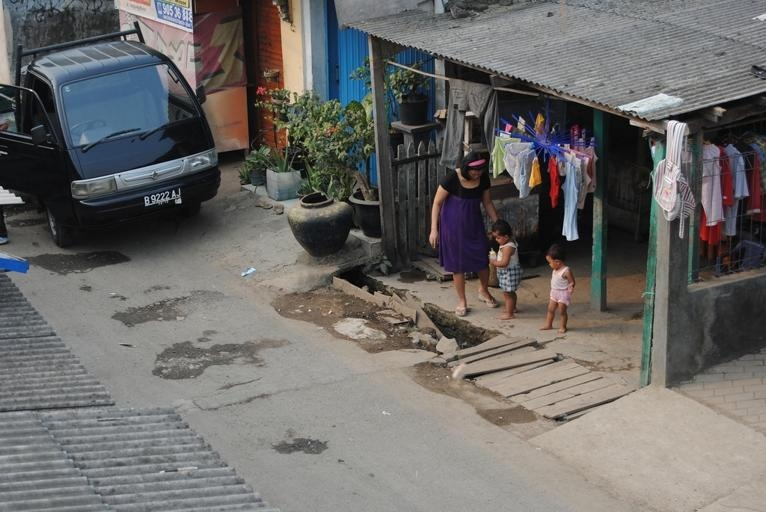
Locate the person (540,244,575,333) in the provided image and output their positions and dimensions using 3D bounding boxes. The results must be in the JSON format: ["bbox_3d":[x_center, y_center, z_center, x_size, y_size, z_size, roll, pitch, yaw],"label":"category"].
[{"bbox_3d":[2.162,0.342,10.901,0.382,1.062,0.736,1,20,11],"label":"person"}]

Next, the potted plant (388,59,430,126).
[{"bbox_3d":[0.384,-2.455,13.248,0.607,0.905,0.553,-2,20,4],"label":"potted plant"}]

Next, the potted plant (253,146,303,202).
[{"bbox_3d":[-1.766,-1.384,14.938,0.770,0.944,0.924,-18,25,-40],"label":"potted plant"}]

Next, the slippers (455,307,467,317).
[{"bbox_3d":[0.996,0.716,11.255,0.121,0.062,0.211,1,9,7],"label":"slippers"}]

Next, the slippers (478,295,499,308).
[{"bbox_3d":[1.385,0.590,11.533,0.254,0.080,0.132,24,31,26],"label":"slippers"}]

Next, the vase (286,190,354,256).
[{"bbox_3d":[-0.888,-0.470,12.817,0.978,0.762,0.984,-27,32,-34],"label":"vase"}]

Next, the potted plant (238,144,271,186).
[{"bbox_3d":[-2.215,-1.606,15.531,0.779,0.650,0.702,0,21,-2],"label":"potted plant"}]

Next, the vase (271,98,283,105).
[{"bbox_3d":[-1.850,-2.696,15.332,0.202,0.063,0.182,14,23,33],"label":"vase"}]

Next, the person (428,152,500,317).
[{"bbox_3d":[1.022,-0.300,11.192,0.846,2.051,0.650,-2,21,5],"label":"person"}]

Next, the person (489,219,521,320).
[{"bbox_3d":[1.557,0.122,11.276,0.391,1.223,0.744,-2,20,6],"label":"person"}]
